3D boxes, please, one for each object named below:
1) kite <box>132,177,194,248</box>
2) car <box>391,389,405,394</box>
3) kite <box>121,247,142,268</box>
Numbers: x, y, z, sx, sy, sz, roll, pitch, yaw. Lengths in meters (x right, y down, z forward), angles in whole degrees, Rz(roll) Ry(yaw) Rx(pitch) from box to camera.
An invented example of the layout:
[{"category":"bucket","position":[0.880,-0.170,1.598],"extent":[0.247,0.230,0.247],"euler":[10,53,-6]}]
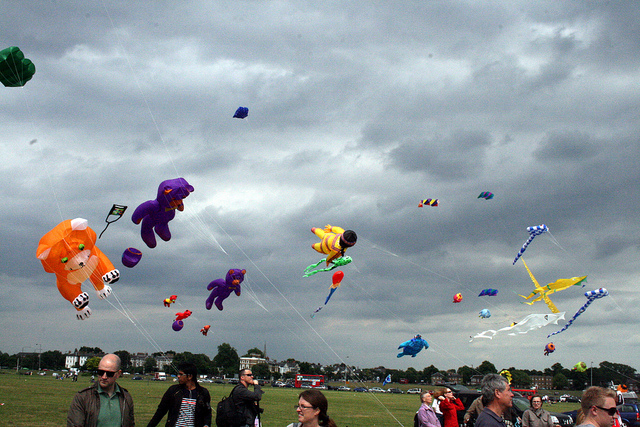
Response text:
[{"category":"kite","position":[-11.152,-0.041,50.972],"extent":[2.338,4.519,3.636],"euler":[13,-20,-41]},{"category":"car","position":[14.631,33.485,138.801],"extent":[2.476,0.797,1.366],"euler":[3,-8,-22]},{"category":"kite","position":[-13.399,3.069,51.624],"extent":[1.117,1.305,1.210],"euler":[3,-15,-13]}]
